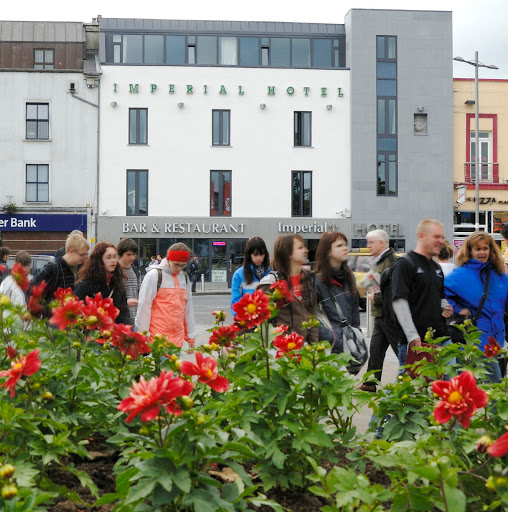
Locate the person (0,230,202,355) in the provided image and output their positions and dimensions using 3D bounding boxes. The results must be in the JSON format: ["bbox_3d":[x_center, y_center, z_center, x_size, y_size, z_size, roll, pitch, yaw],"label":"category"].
[{"bbox_3d":[-1.049,0.289,7.349,1.137,0.870,1.104,0,-2,-3],"label":"person"}]

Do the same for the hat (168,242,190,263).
[{"bbox_3d":[-0.612,-0.022,7.267,0.180,0.142,0.136,-4,1,28],"label":"hat"}]
